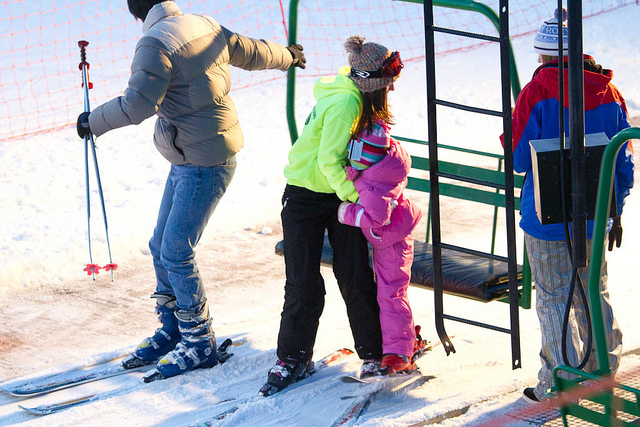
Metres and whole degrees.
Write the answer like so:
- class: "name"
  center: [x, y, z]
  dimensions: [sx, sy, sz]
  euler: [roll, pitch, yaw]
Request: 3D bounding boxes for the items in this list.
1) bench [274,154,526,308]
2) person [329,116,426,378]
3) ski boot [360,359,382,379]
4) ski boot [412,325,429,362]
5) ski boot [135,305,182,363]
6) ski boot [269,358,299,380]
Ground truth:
- class: "bench"
  center: [0.698, 0.110, 6.205]
  dimensions: [1.735, 1.060, 0.685]
  euler: [12, 32, 43]
- class: "person"
  center: [0.476, 0.246, 5.767]
  dimensions: [0.500, 1.785, 0.894]
  euler: [0, 0, 20]
- class: "ski boot"
  center: [0.347, 1.058, 5.666]
  dimensions: [0.142, 0.160, 0.098]
  euler: [1, 22, -25]
- class: "ski boot"
  center: [0.714, 0.946, 5.861]
  dimensions: [0.089, 0.137, 0.286]
  euler: [-2, 17, 9]
- class: "ski boot"
  center: [-1.201, 0.888, 6.198]
  dimensions: [0.164, 0.452, 0.481]
  euler: [2, 5, 37]
- class: "ski boot"
  center: [-0.241, 1.076, 5.690]
  dimensions: [0.205, 0.091, 0.054]
  euler: [-1, 0, -4]
